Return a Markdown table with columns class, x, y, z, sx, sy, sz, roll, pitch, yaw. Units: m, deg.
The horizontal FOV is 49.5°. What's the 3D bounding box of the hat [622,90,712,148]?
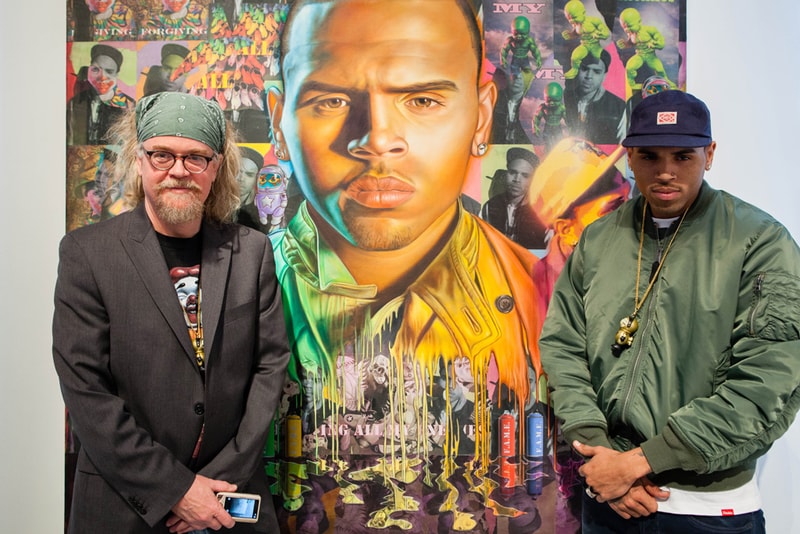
| class | x | y | z | sx | sy | sz | roll | pitch | yaw |
| --- | --- | --- | --- | --- | --- | --- | --- | --- | --- |
| hat | 1.192 | -0.647 | 3.850 | 0.251 | 0.169 | 0.339 | 3 | 10 | 26 |
